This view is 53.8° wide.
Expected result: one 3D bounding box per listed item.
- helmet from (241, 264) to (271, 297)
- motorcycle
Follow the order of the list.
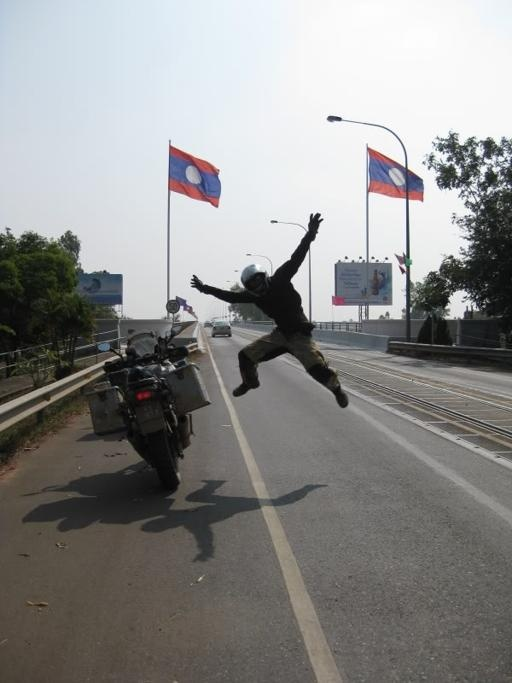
[{"bbox_3d":[-0.013,-0.698,5.658,0.311,0.310,0.343,-2,-3,6],"label":"helmet"},{"bbox_3d":[-1.115,0.722,5.448,0.982,1.655,1.544,-1,-3,-17],"label":"motorcycle"}]
